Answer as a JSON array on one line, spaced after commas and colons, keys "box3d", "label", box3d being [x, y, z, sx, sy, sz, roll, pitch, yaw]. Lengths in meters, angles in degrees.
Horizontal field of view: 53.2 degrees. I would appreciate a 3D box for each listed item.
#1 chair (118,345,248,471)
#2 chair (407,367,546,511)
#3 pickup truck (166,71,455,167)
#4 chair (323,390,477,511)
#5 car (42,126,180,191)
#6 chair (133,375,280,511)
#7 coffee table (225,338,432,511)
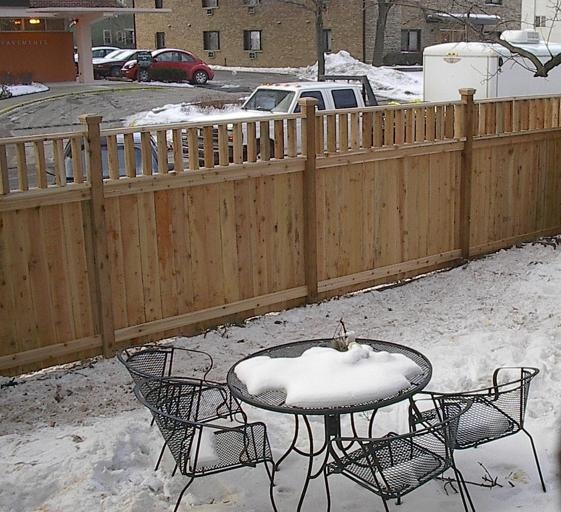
[{"box3d": [-0.766, 0.928, 4.230, 1.006, 0.845, 0.829, -11, 34, -11], "label": "chair"}, {"box3d": [1.415, 1.178, 3.773, 0.760, 0.782, 0.649, -27, -1, 17], "label": "chair"}, {"box3d": [0.602, -2.938, 12.351, 3.250, 1.506, 1.715, -12, 14, -18], "label": "pickup truck"}, {"box3d": [0.728, 1.192, 3.370, 0.466, 0.588, 0.462, -23, 36, -34], "label": "chair"}, {"box3d": [-2.624, -1.691, 9.288, 1.089, 0.925, 1.954, -11, 3, -6], "label": "car"}, {"box3d": [-0.503, 1.119, 3.633, 0.896, 0.729, 0.791, -7, 27, -14], "label": "chair"}, {"box3d": [0.349, 1.200, 3.694, 1.120, 0.704, 1.104, 0, 20, 7], "label": "coffee table"}]
